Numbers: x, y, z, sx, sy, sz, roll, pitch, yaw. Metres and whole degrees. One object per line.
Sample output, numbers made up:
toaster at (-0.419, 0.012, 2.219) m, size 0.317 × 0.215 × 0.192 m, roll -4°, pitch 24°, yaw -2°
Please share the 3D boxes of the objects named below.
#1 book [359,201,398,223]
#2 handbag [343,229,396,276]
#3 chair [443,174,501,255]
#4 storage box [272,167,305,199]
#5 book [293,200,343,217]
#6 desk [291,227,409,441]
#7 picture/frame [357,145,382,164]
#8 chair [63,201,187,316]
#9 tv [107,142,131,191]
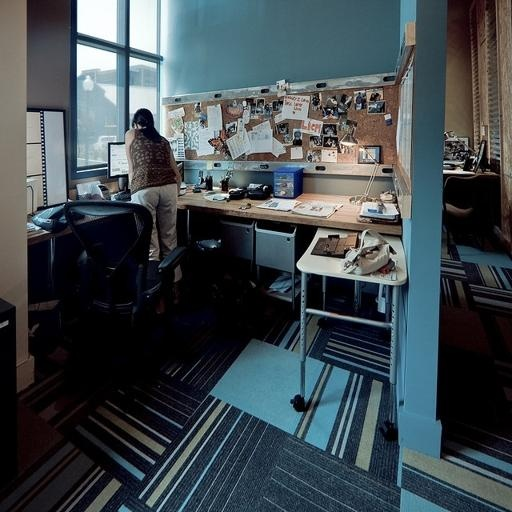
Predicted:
book at (0.798, -0.312, 2.517) m, size 0.244 × 0.075 × 0.361 m, roll 3°, pitch 23°, yaw 21°
handbag at (0.526, -0.010, 1.831) m, size 0.217 × 0.114 × 0.196 m, roll -18°, pitch 38°, yaw 13°
chair at (2.212, -0.450, 3.974) m, size 0.537 × 1.090 × 0.628 m, roll 3°, pitch 15°, yaw 30°
storage box at (0.262, -0.604, 3.163) m, size 0.243 × 0.299 × 0.235 m, roll 1°, pitch 12°, yaw 9°
book at (0.427, -0.349, 2.781) m, size 0.318 × 0.039 × 0.436 m, roll 4°, pitch 24°, yaw 25°
desk at (0.275, 0.426, 2.104) m, size 0.541 × 0.772 × 0.939 m, roll 18°, pitch -13°, yaw -20°
picture/frame at (0.881, -0.793, 3.004) m, size 0.143 × 0.150 × 0.016 m, roll 6°, pitch 7°, yaw 36°
chair at (-0.682, -0.084, 2.182) m, size 0.481 × 0.830 × 0.586 m, roll 4°, pitch 20°, yaw 6°
tv at (-1.146, -0.773, 3.266) m, size 0.109 × 0.422 × 0.338 m, roll 4°, pitch 16°, yaw 9°
